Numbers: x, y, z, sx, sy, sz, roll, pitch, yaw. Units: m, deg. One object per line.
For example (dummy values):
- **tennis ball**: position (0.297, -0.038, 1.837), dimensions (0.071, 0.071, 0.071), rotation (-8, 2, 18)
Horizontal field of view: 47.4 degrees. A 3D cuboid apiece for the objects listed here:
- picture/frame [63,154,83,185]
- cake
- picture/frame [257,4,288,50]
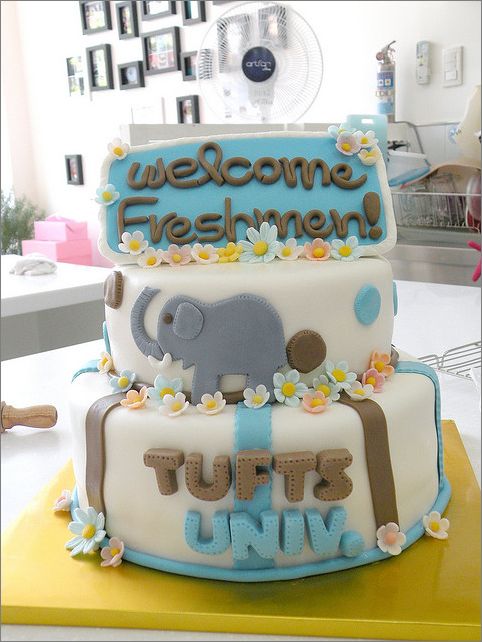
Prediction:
- **picture/frame**: position (-1.467, -1.337, 4.799), dimensions (0.037, 0.337, 0.239), rotation (-8, 12, -44)
- **cake**: position (0.007, 0.035, 0.873), dimensions (0.545, 0.537, 0.534), rotation (-2, 13, 3)
- **picture/frame**: position (0.065, -0.571, 1.081), dimensions (0.070, 0.074, 0.017), rotation (-1, 9, -17)
